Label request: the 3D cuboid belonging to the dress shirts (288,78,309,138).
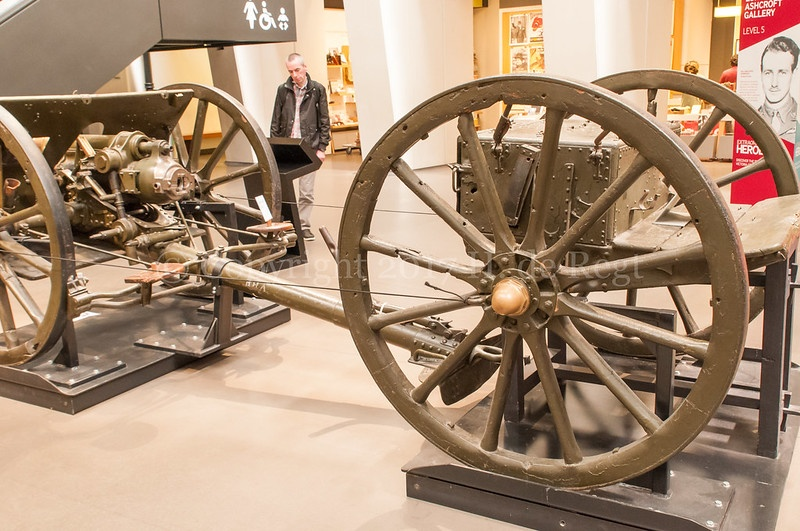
[{"bbox_3d":[-1.157,-1.778,7.116,0.153,0.647,0.109,-9,31,-18],"label":"dress shirts"}]
